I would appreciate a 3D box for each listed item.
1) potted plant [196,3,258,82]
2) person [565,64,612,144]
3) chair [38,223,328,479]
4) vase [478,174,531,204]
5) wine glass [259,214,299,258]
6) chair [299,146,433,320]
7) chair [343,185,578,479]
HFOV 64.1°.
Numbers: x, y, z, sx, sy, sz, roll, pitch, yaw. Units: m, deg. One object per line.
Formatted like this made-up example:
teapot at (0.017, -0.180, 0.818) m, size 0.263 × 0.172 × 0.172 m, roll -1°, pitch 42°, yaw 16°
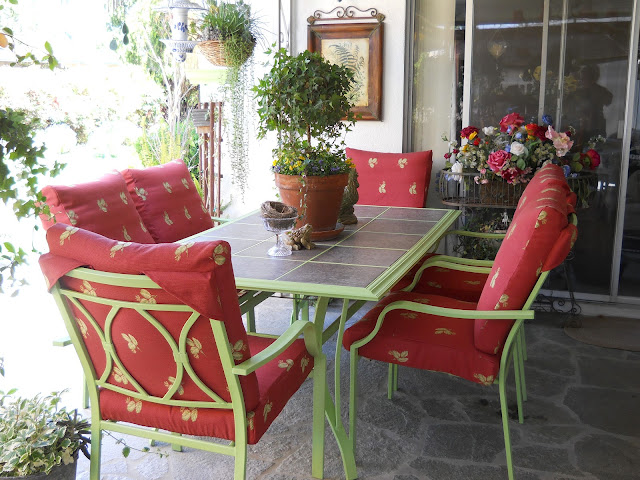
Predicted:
potted plant at (-0.695, -1.535, 4.015) m, size 0.520 × 0.535 × 0.515 m, roll 6°, pitch 11°, yaw 43°
person at (1.936, -0.973, 3.693) m, size 0.365 × 0.751 × 0.196 m, roll 21°, pitch 63°, yaw 38°
chair at (-0.428, 0.321, 1.994) m, size 0.750 × 1.148 × 0.904 m, roll 3°, pitch 12°, yaw 18°
vase at (1.232, -0.339, 3.475) m, size 0.231 × 0.172 × 0.194 m, roll 1°, pitch 3°, yaw 12°
wine glass at (-0.187, -0.022, 2.319) m, size 0.168 × 0.173 × 0.168 m, roll -4°, pitch 11°, yaw -5°
chair at (0.416, -0.247, 3.540) m, size 0.644 × 0.928 × 0.726 m, roll 5°, pitch 13°, yaw 15°
chair at (0.601, 0.222, 2.630) m, size 1.169 × 1.492 × 0.942 m, roll 6°, pitch 15°, yaw 23°
